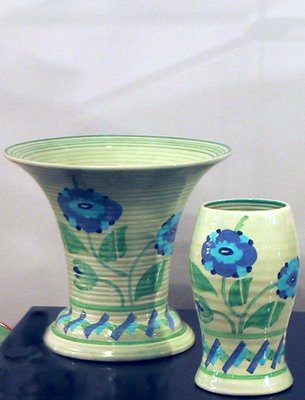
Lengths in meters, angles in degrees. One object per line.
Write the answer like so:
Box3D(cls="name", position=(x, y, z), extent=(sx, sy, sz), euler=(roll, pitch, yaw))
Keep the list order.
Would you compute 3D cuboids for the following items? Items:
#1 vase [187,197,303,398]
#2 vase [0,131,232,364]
Box3D(cls="vase", position=(0.092, 0.104, 0.502), extent=(0.102, 0.194, 0.049), euler=(-1, 12, 4))
Box3D(cls="vase", position=(-0.035, 0.057, 0.609), extent=(0.257, 0.268, 0.197), euler=(-1, 11, 2))
